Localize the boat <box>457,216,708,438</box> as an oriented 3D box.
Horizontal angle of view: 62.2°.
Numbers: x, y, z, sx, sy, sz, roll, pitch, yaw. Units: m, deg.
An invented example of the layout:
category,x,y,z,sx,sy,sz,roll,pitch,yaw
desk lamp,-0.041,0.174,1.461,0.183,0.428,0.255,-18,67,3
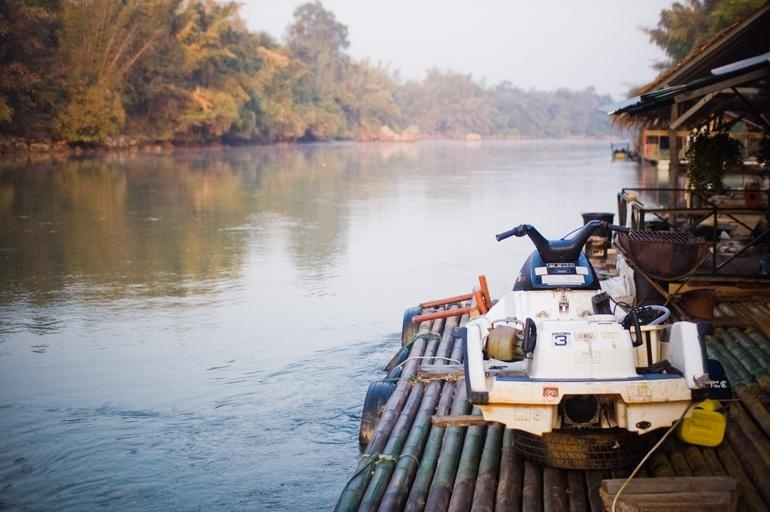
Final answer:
category,x,y,z,sx,sy,sz,roll,pitch,yaw
boat,2.077,0.579,7.284,2.143,1.825,3.453,-3,9,10
